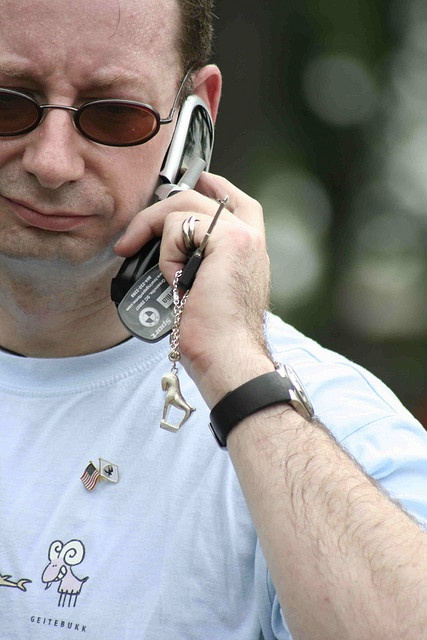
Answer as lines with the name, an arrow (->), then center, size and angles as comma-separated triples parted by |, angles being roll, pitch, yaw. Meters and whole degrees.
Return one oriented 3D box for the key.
key -> -0.024, -0.163, 1.533 | 0.051, 0.146, 0.253 | 8, 28, 11
